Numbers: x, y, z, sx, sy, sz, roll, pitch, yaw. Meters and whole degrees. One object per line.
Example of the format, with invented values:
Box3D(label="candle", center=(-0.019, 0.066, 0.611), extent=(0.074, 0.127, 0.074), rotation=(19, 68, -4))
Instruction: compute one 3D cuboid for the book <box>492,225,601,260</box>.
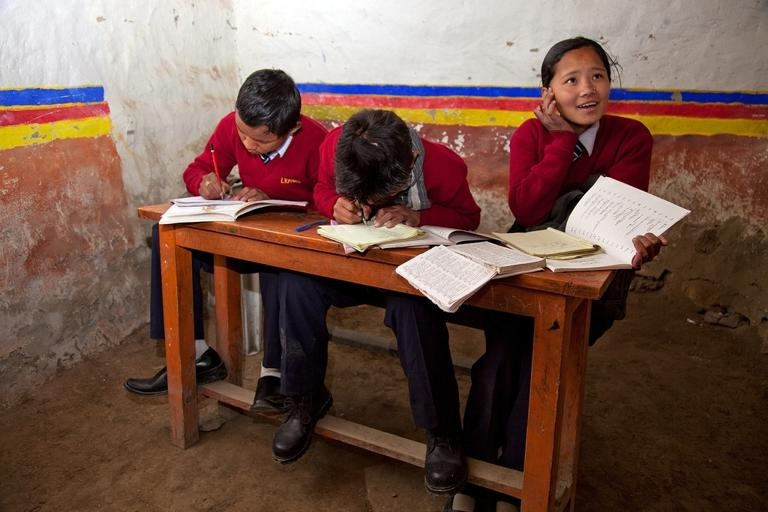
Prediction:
Box3D(label="book", center=(0.663, -0.057, 2.252), extent=(0.190, 0.027, 0.208), rotation=(-11, 24, -25))

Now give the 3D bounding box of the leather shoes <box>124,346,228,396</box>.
Box3D(label="leather shoes", center=(-1.182, 0.647, 3.061), extent=(0.583, 0.194, 0.195), rotation=(-10, 6, 3))

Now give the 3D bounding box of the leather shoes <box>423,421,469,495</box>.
Box3D(label="leather shoes", center=(0.253, 0.867, 2.289), extent=(0.119, 0.130, 0.294), rotation=(-3, 1, 3))

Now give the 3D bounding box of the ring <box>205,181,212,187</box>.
Box3D(label="ring", center=(-0.911, -0.383, 2.863), extent=(0.024, 0.006, 0.022), rotation=(-3, 57, 4))

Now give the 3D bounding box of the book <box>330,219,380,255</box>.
Box3D(label="book", center=(-0.102, -0.095, 2.322), extent=(0.153, 0.040, 0.153), rotation=(28, 34, 35))

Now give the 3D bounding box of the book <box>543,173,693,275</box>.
Box3D(label="book", center=(0.986, -0.144, 2.394), extent=(0.353, 0.137, 0.381), rotation=(-4, -31, 45))

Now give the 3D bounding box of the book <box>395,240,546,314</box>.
Box3D(label="book", center=(0.289, 0.047, 2.114), extent=(0.389, 0.067, 0.311), rotation=(-22, 29, -29))
